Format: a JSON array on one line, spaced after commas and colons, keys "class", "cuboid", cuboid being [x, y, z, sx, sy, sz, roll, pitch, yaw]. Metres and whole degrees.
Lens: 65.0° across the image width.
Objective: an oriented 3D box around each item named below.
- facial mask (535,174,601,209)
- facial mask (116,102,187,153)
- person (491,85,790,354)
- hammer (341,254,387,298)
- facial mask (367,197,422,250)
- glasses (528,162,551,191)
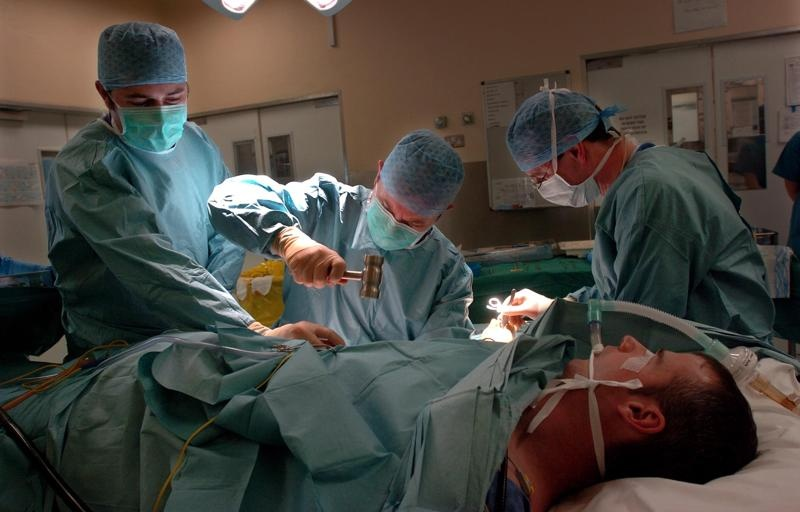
[{"class": "facial mask", "cuboid": [0.817, -0.339, 3.240, 0.262, 0.133, 0.295, -8, -15, 36]}, {"class": "facial mask", "cuboid": [-1.196, -0.632, 3.046, 0.316, 0.231, 0.293, -12, 24, -36]}, {"class": "person", "cuboid": [1.107, -0.216, 2.990, 1.203, 1.202, 0.532, 4, 13, 33]}, {"class": "hammer", "cuboid": [-0.181, 0.091, 2.761, 0.223, 0.189, 0.088, 4, -8, 18]}, {"class": "facial mask", "cuboid": [-0.028, -0.147, 3.079, 0.274, 0.285, 0.163, -4, 11, -2]}, {"class": "glasses", "cuboid": [0.741, -0.411, 3.289, 0.082, 0.124, 0.063, -1, 12, 1]}]
